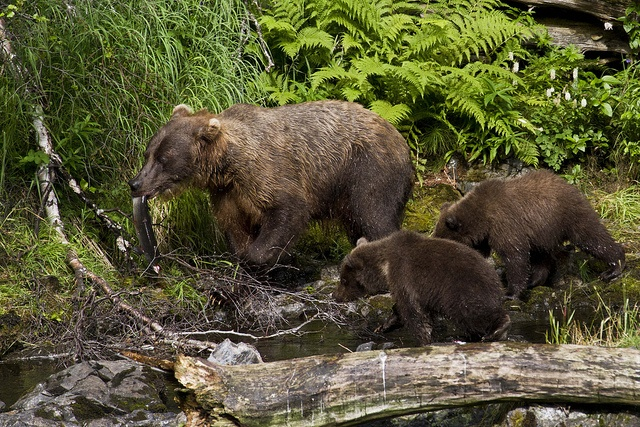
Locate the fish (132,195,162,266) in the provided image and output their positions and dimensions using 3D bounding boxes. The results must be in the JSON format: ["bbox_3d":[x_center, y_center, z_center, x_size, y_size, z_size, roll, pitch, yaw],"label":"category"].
[{"bbox_3d":[-2.445,0.204,9.091,0.286,0.896,0.522,-8,26,-20],"label":"fish"}]
